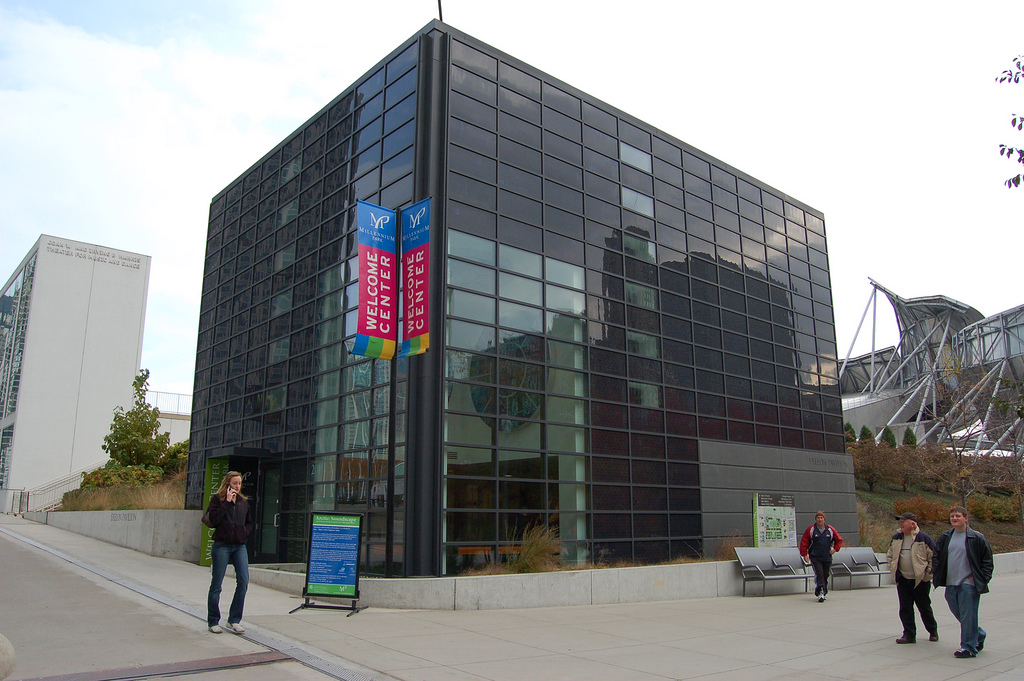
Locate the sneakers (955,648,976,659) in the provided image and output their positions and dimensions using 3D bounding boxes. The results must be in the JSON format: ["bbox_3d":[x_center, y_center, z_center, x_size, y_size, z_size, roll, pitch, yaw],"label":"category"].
[{"bbox_3d":[8.672,6.003,13.098,0.477,0.178,0.166,8,-19,-9],"label":"sneakers"}]

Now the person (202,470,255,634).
[{"bbox_3d":[-5.662,4.185,13.553,0.854,3.147,1.293,4,-5,-19],"label":"person"}]

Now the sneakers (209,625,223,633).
[{"bbox_3d":[-5.732,5.563,13.197,0.256,0.130,0.251,5,-6,-22],"label":"sneakers"}]

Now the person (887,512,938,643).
[{"bbox_3d":[8.510,5.018,14.448,0.842,2.636,0.999,-1,-6,34],"label":"person"}]

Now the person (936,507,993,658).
[{"bbox_3d":[8.809,4.701,13.333,0.941,2.740,0.545,0,-6,30],"label":"person"}]

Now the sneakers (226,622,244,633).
[{"bbox_3d":[-5.428,5.617,13.368,0.383,0.148,0.141,-9,-16,41],"label":"sneakers"}]

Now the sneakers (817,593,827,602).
[{"bbox_3d":[9.237,7.665,20.334,0.227,0.227,0.547,-3,-25,10],"label":"sneakers"}]
